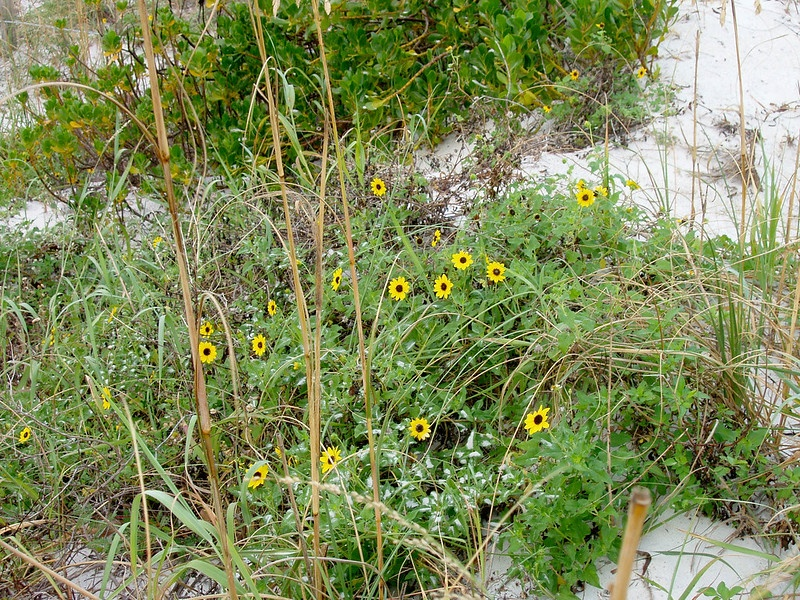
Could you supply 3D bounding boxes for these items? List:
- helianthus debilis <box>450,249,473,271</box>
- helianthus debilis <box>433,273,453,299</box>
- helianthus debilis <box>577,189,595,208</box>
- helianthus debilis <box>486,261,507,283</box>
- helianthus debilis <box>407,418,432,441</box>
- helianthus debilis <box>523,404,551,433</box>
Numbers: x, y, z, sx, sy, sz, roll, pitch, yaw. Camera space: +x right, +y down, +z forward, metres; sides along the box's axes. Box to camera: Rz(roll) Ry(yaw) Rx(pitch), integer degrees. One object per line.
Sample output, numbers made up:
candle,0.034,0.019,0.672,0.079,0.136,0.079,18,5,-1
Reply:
helianthus debilis,0.258,-0.162,2.901,0.084,0.080,0.070,1,18,-9
helianthus debilis,0.176,-0.063,2.899,0.076,0.100,0.114,3,18,-2
helianthus debilis,0.767,-0.426,2.898,0.072,0.068,0.034,9,17,15
helianthus debilis,0.390,-0.115,2.864,0.078,0.094,0.097,7,18,8
helianthus debilis,0.077,0.477,2.607,0.089,0.076,0.068,1,18,-12
helianthus debilis,0.487,0.415,2.488,0.086,0.106,0.099,5,18,4
